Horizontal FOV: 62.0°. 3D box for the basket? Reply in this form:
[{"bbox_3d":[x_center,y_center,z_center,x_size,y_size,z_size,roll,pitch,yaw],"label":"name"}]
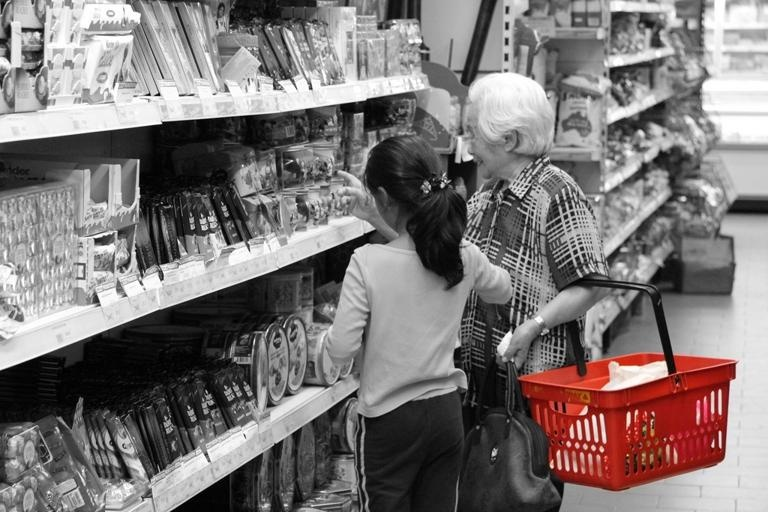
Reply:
[{"bbox_3d":[0.925,0.609,2.376,0.657,0.366,0.503,-3,-5,-27],"label":"basket"}]

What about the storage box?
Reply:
[{"bbox_3d":[4.076,0.154,8.135,0.843,0.671,0.858,-1,-3,42],"label":"storage box"}]

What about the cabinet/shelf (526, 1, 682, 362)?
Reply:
[{"bbox_3d":[0.873,-0.146,2.871,0.541,1.852,1.017,-1,0,10],"label":"cabinet/shelf"}]
